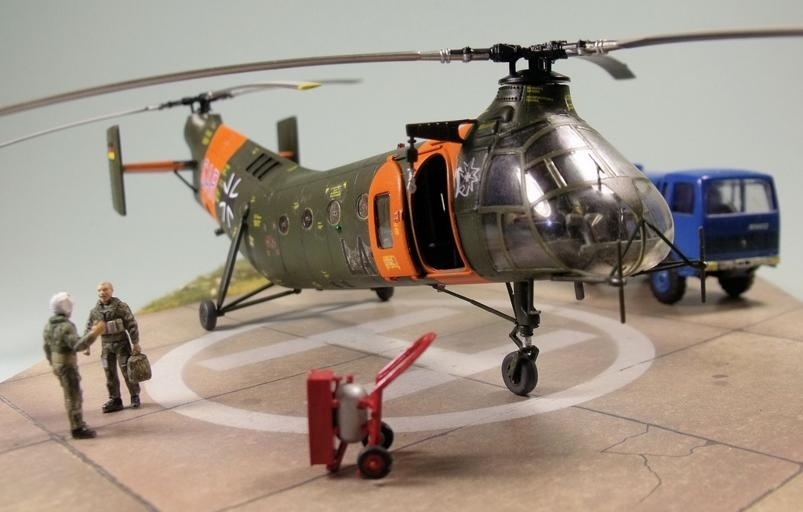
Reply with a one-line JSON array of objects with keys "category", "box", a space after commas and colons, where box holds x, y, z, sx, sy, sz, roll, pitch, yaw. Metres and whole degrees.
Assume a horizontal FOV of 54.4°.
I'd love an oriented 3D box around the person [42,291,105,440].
[{"category": "person", "box": [-4.896, 1.660, 11.840, 1.016, 1.567, 0.404, -9, 8, 7]}]
